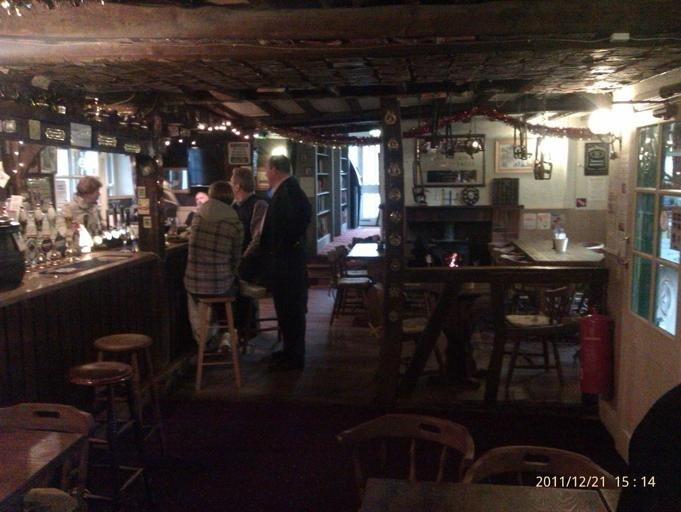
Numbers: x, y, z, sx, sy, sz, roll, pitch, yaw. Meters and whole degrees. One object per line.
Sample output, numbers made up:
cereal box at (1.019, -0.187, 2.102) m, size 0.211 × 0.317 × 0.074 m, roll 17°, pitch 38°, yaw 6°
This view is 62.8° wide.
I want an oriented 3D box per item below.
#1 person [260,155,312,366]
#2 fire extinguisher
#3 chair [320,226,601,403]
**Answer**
person at (-0.570, 0.080, 5.737) m, size 0.487 × 2.158 × 0.577 m, roll -1°, pitch 15°, yaw 6°
fire extinguisher at (2.069, 0.773, 4.504) m, size 0.268 × 0.712 × 0.402 m, roll 3°, pitch 15°, yaw 22°
chair at (1.271, 0.410, 5.214) m, size 1.636 × 1.011 × 2.180 m, roll 1°, pitch 7°, yaw 7°
